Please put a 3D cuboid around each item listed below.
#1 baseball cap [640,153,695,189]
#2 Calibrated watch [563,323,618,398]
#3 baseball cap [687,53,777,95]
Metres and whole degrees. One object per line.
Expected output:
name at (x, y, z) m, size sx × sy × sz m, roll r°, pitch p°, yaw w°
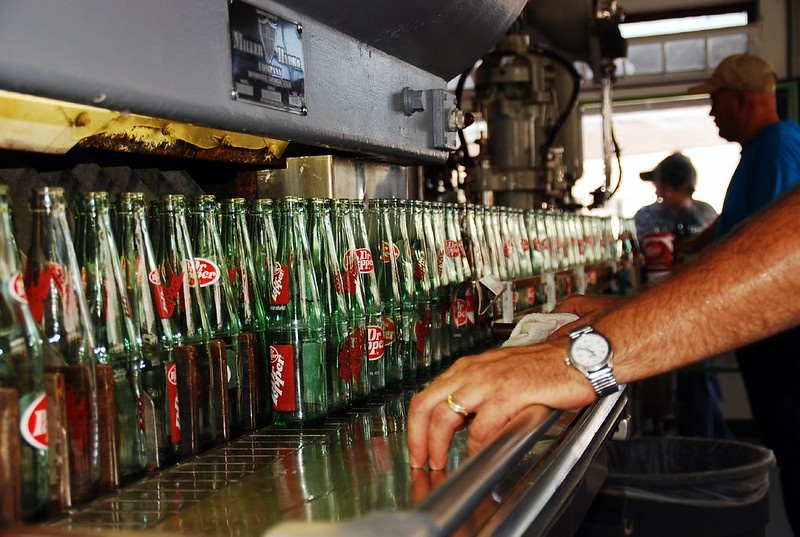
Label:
baseball cap at (1.915, -0.705, 5.043) m, size 0.312 × 0.188 × 0.217 m, roll 12°, pitch 15°, yaw 31°
Calibrated watch at (0.353, 0.161, 1.348) m, size 0.077 × 0.132 × 0.072 m, roll -23°, pitch -31°, yaw 3°
baseball cap at (1.651, -0.991, 3.509) m, size 0.345 × 0.185 × 0.234 m, roll 11°, pitch 21°, yaw 30°
